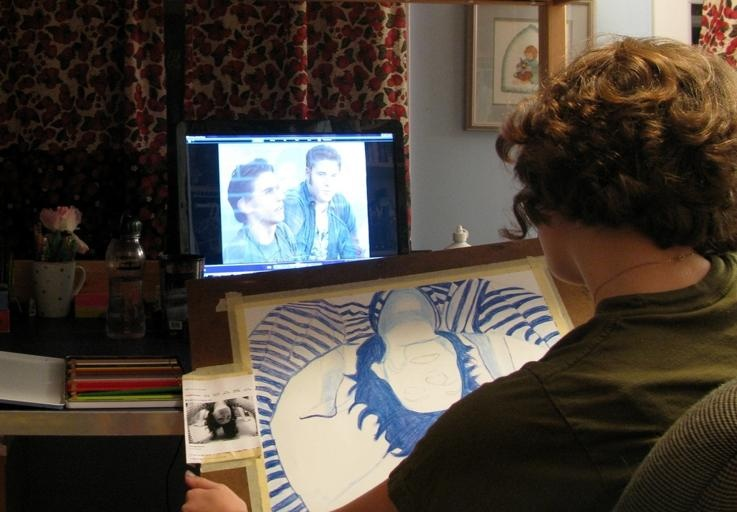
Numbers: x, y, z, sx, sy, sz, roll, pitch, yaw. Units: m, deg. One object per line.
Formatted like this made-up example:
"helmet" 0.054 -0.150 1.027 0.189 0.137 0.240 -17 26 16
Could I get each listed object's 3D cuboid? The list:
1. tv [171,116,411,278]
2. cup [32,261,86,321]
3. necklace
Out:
"tv" -0.196 -0.142 1.530 0.395 0.283 0.041 -3 1 -9
"cup" -0.785 0.080 1.595 0.145 0.137 0.096 -3 8 -25
"necklace" 0.375 0.018 0.855 0.082 0.064 0.104 -14 3 -41
